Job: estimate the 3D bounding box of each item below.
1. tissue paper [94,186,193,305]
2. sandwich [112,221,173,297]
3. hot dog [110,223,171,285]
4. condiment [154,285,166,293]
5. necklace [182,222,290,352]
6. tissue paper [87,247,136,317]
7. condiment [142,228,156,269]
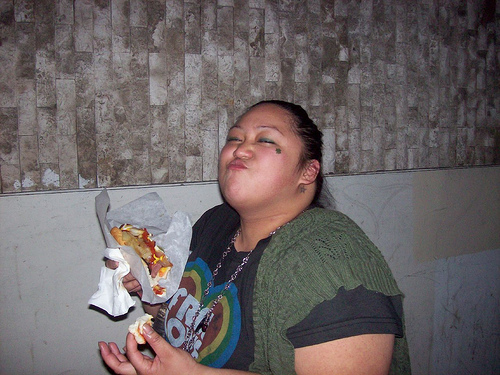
[{"bbox_3d":[-0.528,0.327,1.883,0.408,0.151,0.498,16,-33,34],"label":"tissue paper"},{"bbox_3d":[-0.483,0.301,1.817,0.111,0.354,0.178,-38,-7,41],"label":"sandwich"},{"bbox_3d":[-0.479,0.290,1.829,0.174,0.279,0.093,-38,-2,-40],"label":"hot dog"},{"bbox_3d":[-0.368,0.418,1.734,0.053,0.018,0.015,24,-16,-21],"label":"condiment"},{"bbox_3d":[-0.129,0.363,1.835,0.440,0.520,0.351,0,11,-41],"label":"necklace"},{"bbox_3d":[-0.556,0.378,1.711,0.163,0.254,0.139,0,8,-17],"label":"tissue paper"},{"bbox_3d":[-0.425,0.251,1.788,0.043,0.172,0.052,0,-19,-40],"label":"condiment"}]
